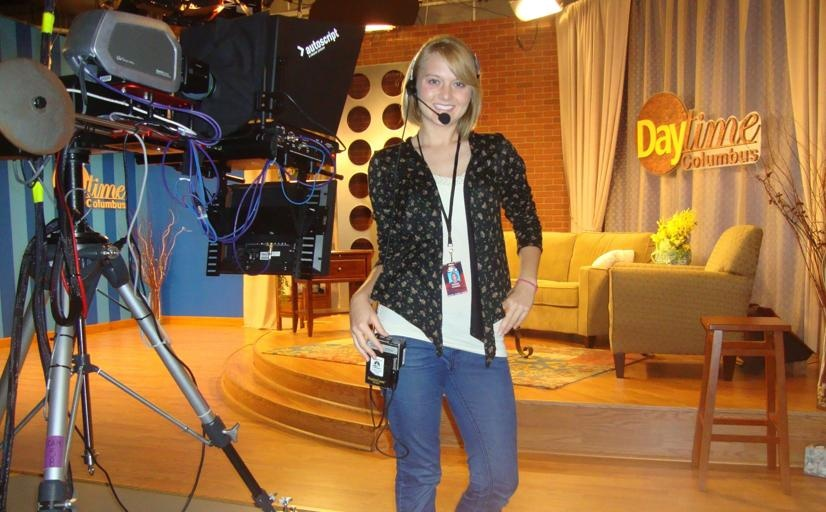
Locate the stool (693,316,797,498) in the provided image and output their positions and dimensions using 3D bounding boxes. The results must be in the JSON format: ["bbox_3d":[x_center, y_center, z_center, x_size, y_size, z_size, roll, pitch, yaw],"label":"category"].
[{"bbox_3d":[2.236,0.929,4.359,0.608,1.071,0.831,2,2,18],"label":"stool"}]

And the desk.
[{"bbox_3d":[-0.943,0.385,7.309,0.843,0.738,0.640,3,-4,-22],"label":"desk"}]

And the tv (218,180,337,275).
[{"bbox_3d":[-0.744,-0.125,3.362,0.678,0.491,0.164,-2,-4,14],"label":"tv"}]

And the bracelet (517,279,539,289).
[{"bbox_3d":[0.536,0.122,2.951,0.106,0.043,0.066,1,2,-11],"label":"bracelet"}]

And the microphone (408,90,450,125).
[{"bbox_3d":[0.074,-0.674,3.012,0.243,0.085,0.044,42,-3,-1],"label":"microphone"}]

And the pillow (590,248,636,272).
[{"bbox_3d":[2.015,0.027,6.428,0.280,0.113,0.289,-23,-7,41],"label":"pillow"}]

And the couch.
[{"bbox_3d":[1.587,0.334,7.163,1.045,1.217,1.779,1,0,-37],"label":"couch"}]

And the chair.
[{"bbox_3d":[2.283,0.315,5.559,1.285,1.174,1.310,3,4,36],"label":"chair"}]
